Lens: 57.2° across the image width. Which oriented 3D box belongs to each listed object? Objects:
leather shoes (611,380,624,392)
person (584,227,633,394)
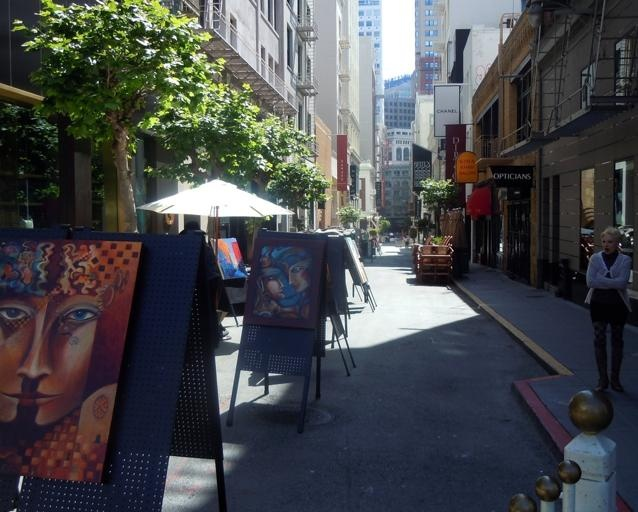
[{"bbox_3d":[3.769,1.662,7.398,0.064,0.157,0.216,-1,-7,2],"label":"leather shoes"},{"bbox_3d":[3.699,0.676,7.520,0.527,2.039,0.490,0,5,19],"label":"person"}]
